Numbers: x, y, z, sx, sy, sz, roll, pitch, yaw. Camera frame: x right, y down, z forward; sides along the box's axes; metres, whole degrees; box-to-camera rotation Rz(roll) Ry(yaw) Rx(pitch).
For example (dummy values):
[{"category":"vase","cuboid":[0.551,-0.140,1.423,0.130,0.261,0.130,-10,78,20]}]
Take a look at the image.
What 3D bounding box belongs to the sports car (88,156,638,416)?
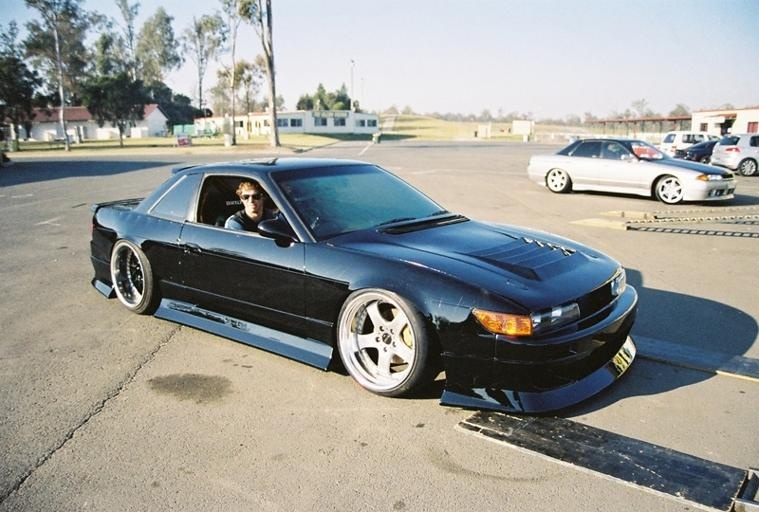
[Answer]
[{"category":"sports car","cuboid":[-0.713,-0.096,4.894,6.275,1.850,2.155,10,20,31]}]
